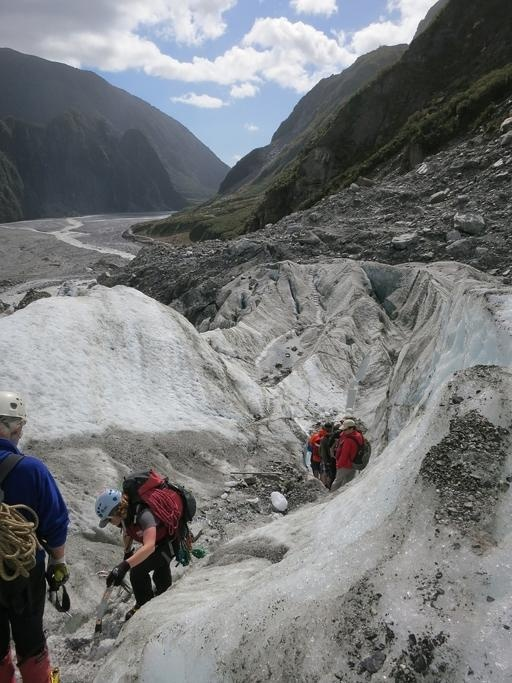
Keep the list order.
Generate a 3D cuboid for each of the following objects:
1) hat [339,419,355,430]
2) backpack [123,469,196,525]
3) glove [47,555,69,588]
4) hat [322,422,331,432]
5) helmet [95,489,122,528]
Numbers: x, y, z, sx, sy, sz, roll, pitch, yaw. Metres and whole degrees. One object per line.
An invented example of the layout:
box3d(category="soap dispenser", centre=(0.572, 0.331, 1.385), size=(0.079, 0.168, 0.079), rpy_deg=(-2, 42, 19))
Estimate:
box3d(category="hat", centre=(1.491, 1.325, 8.741), size=(0.227, 0.111, 0.155), rpy_deg=(2, 22, 10))
box3d(category="backpack", centre=(-0.976, 1.573, 5.539), size=(0.527, 0.722, 0.322), rpy_deg=(-36, 20, 46))
box3d(category="glove", centre=(-1.659, 1.920, 4.521), size=(0.109, 0.244, 0.194), rpy_deg=(4, 1, -32))
box3d(category="hat", centre=(1.306, 1.557, 9.856), size=(0.146, 0.124, 0.141), rpy_deg=(1, 12, -7))
box3d(category="helmet", centre=(-1.449, 1.641, 5.282), size=(0.252, 0.417, 0.166), rpy_deg=(-2, 15, -18))
